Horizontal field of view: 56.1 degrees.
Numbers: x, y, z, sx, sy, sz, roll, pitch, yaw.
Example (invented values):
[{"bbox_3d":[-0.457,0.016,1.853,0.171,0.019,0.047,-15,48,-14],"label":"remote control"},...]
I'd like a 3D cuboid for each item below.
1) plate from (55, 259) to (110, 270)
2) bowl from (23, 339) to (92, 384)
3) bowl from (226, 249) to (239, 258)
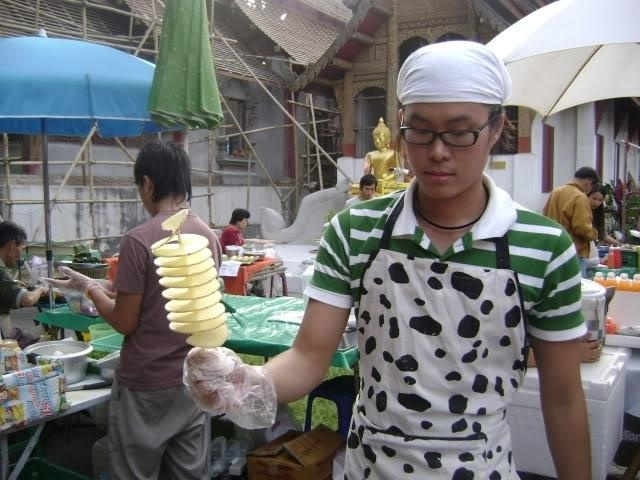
[{"bbox_3d":[-2.058,0.227,5.256,0.221,0.055,0.234,1,1,2],"label":"plate"},{"bbox_3d":[-1.613,0.721,3.704,0.290,0.136,0.289,3,2,0],"label":"bowl"},{"bbox_3d":[-1.105,0.158,7.499,0.108,0.092,0.117,4,5,0],"label":"bowl"}]
